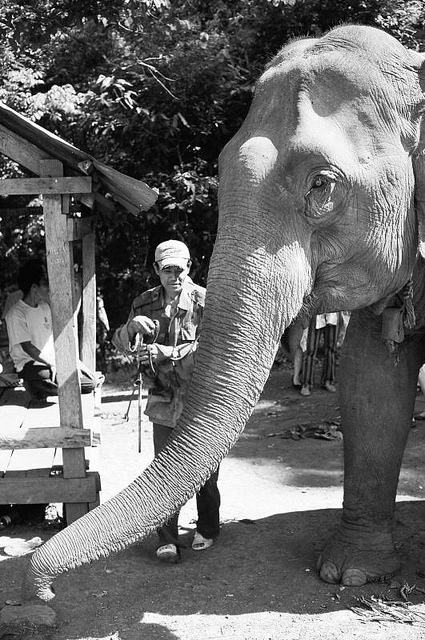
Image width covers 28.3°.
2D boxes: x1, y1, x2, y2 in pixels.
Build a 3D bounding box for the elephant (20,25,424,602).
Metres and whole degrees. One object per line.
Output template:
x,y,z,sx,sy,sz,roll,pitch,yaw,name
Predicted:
0.336,0.096,3.120,0.824,2.321,1.810,1,6,38,elephant
